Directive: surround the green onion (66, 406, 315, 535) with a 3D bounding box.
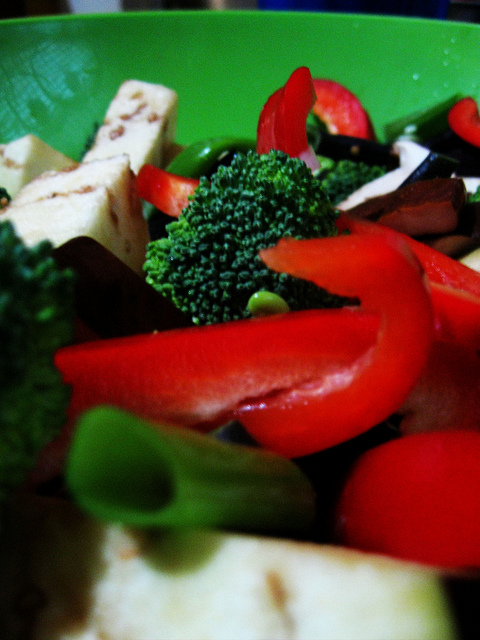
[{"bbox_3d":[-0.056,0.109,0.498,0.208,0.101,0.097,-8,12,-42],"label":"green onion"}]

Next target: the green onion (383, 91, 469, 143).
[{"bbox_3d":[0.351,-0.392,1.217,0.146,0.103,0.065,-7,22,5],"label":"green onion"}]

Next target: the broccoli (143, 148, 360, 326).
[{"bbox_3d":[0.014,-0.104,0.795,0.217,0.224,0.124,5,15,33],"label":"broccoli"}]

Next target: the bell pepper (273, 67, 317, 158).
[{"bbox_3d":[0.077,-0.315,0.983,0.090,0.149,0.039,2,0,-25],"label":"bell pepper"}]
